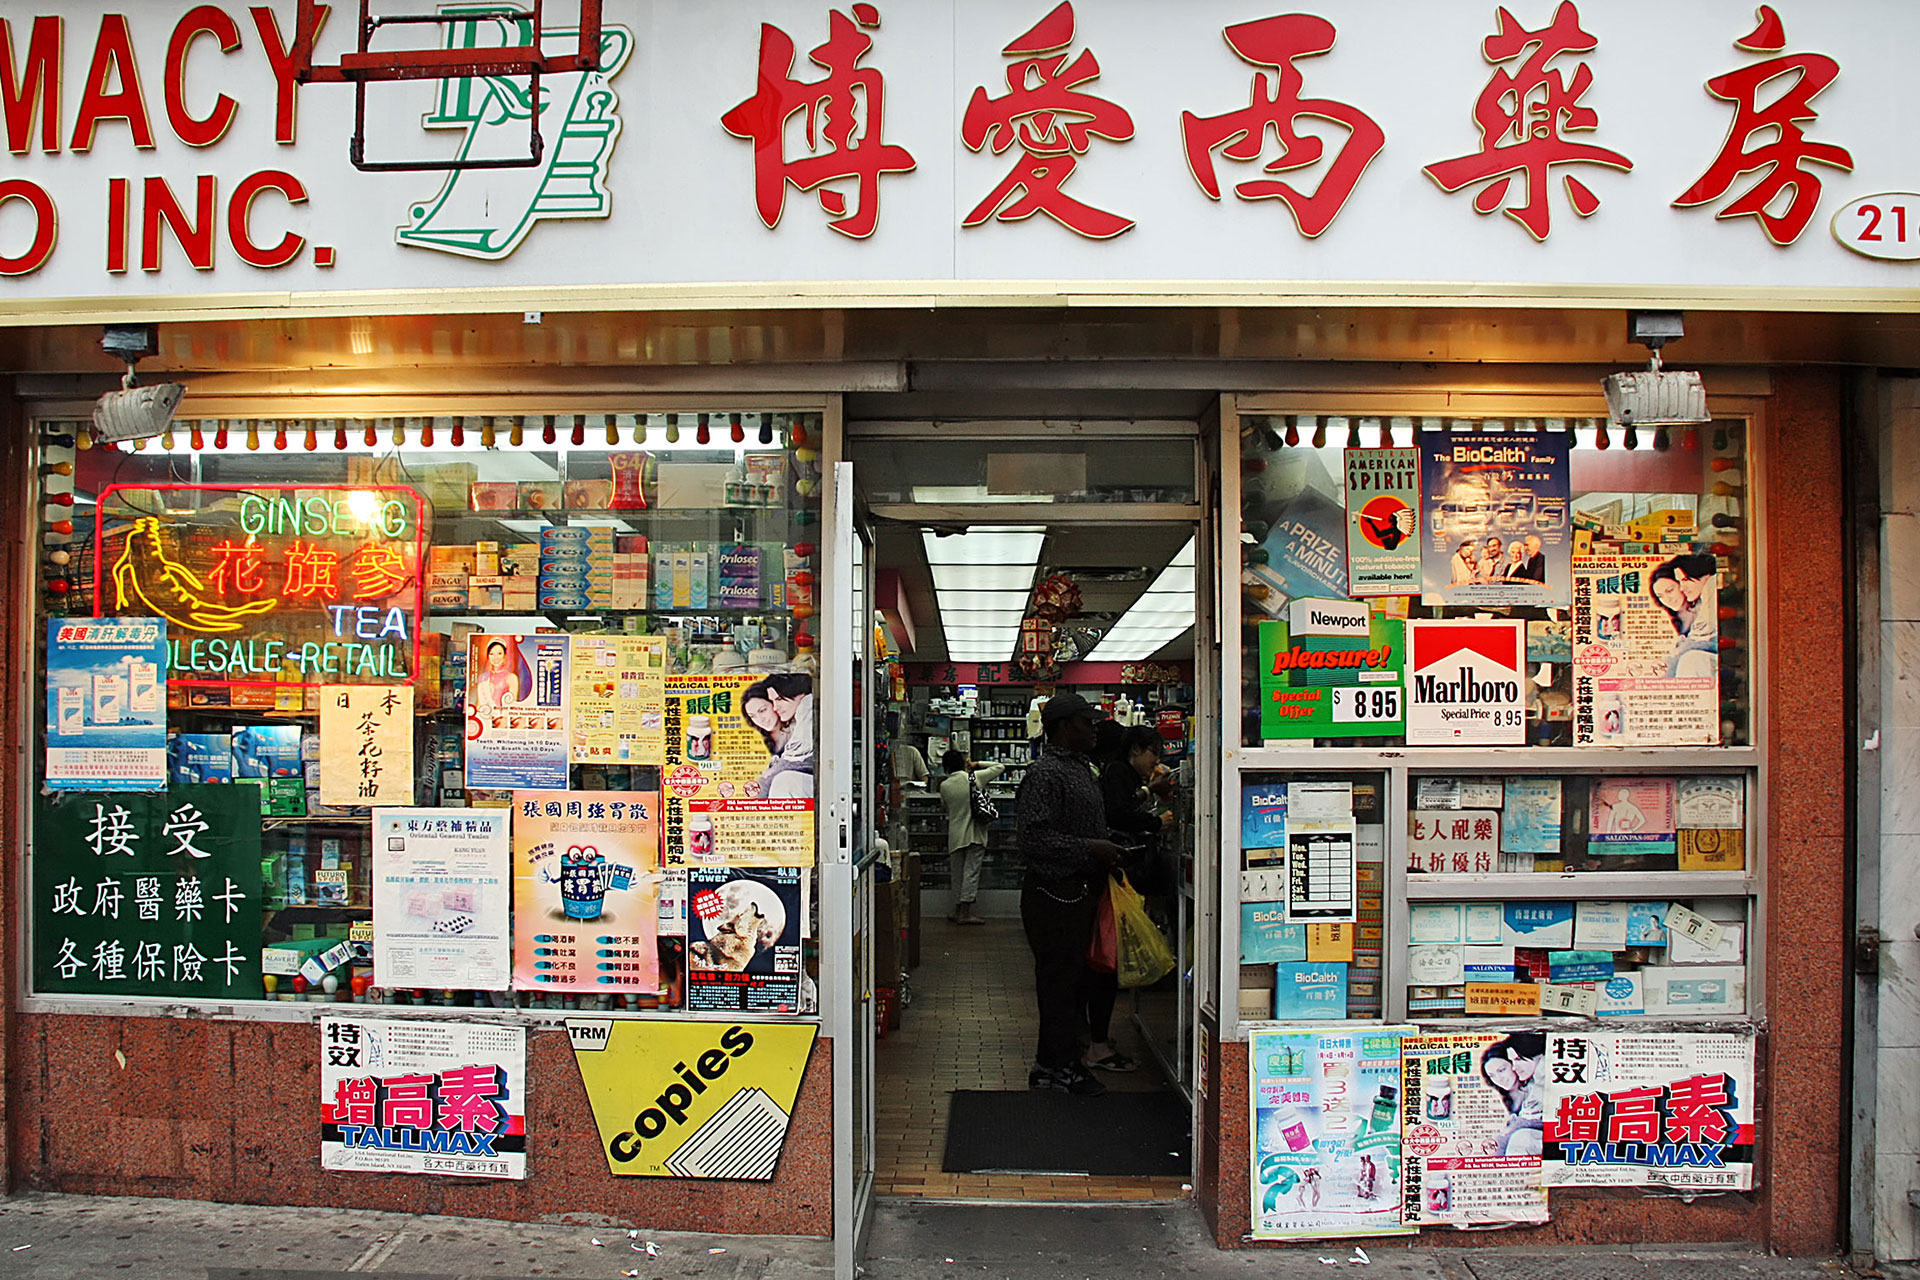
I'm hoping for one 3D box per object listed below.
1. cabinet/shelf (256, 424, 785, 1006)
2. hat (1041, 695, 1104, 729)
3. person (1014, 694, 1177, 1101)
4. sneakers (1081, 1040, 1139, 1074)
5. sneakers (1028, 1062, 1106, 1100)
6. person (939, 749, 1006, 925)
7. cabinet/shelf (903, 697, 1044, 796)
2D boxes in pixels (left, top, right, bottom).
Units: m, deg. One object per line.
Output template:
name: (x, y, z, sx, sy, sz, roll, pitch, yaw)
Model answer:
cabinet/shelf: (-1.906, 0.439, 10.029, 2.766, 2.461, 0.860, 1, -4, 0)
hat: (0.583, 0.372, 11.678, 0.271, 0.141, 0.186, -6, 0, -10)
person: (0.603, 1.292, 11.896, 0.576, 2.038, 1.167, 0, -3, 4)
sneakers: (0.796, 2.229, 12.047, 0.301, 0.123, 0.121, 1, 2, -2)
sneakers: (0.550, 2.285, 11.590, 0.395, 0.142, 0.139, 0, -2, 6)
person: (0.050, 1.529, 17.672, 0.415, 1.308, 0.782, 0, -3, 1)
cabinet/shelf: (0.074, 0.914, 19.134, 1.080, 0.920, 0.323, 3, -27, -7)
